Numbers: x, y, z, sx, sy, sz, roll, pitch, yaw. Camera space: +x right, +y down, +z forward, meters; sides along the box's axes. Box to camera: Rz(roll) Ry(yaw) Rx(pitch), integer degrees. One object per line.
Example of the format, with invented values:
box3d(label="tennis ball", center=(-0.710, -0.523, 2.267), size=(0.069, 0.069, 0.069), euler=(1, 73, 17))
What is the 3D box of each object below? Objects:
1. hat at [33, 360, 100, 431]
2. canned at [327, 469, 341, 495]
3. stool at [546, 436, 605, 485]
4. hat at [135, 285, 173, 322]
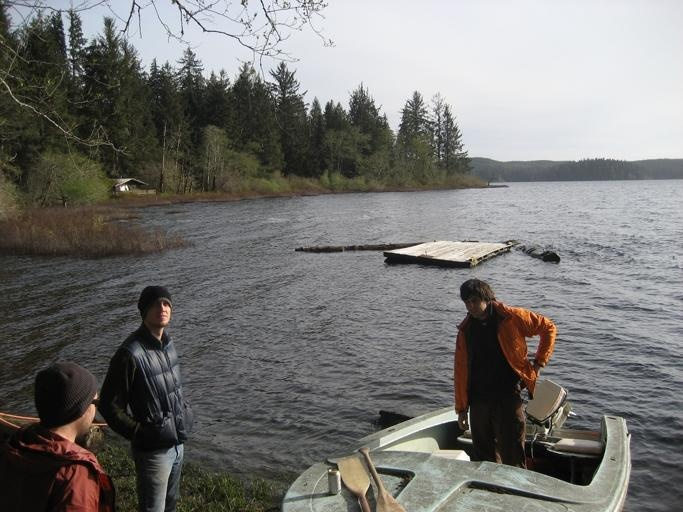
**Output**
box3d(label="hat", center=(-2.387, 1.184, 5.225), size=(0.401, 0.516, 0.551), euler=(-2, 3, -6))
box3d(label="canned", center=(-0.076, 2.263, 6.037), size=(0.130, 0.222, 0.124), euler=(-1, 10, 1))
box3d(label="stool", center=(3.070, 2.588, 7.884), size=(0.447, 0.346, 0.665), euler=(-2, -1, 16))
box3d(label="hat", center=(-2.131, 0.528, 6.843), size=(0.371, 0.398, 0.300), euler=(-7, -3, 27))
